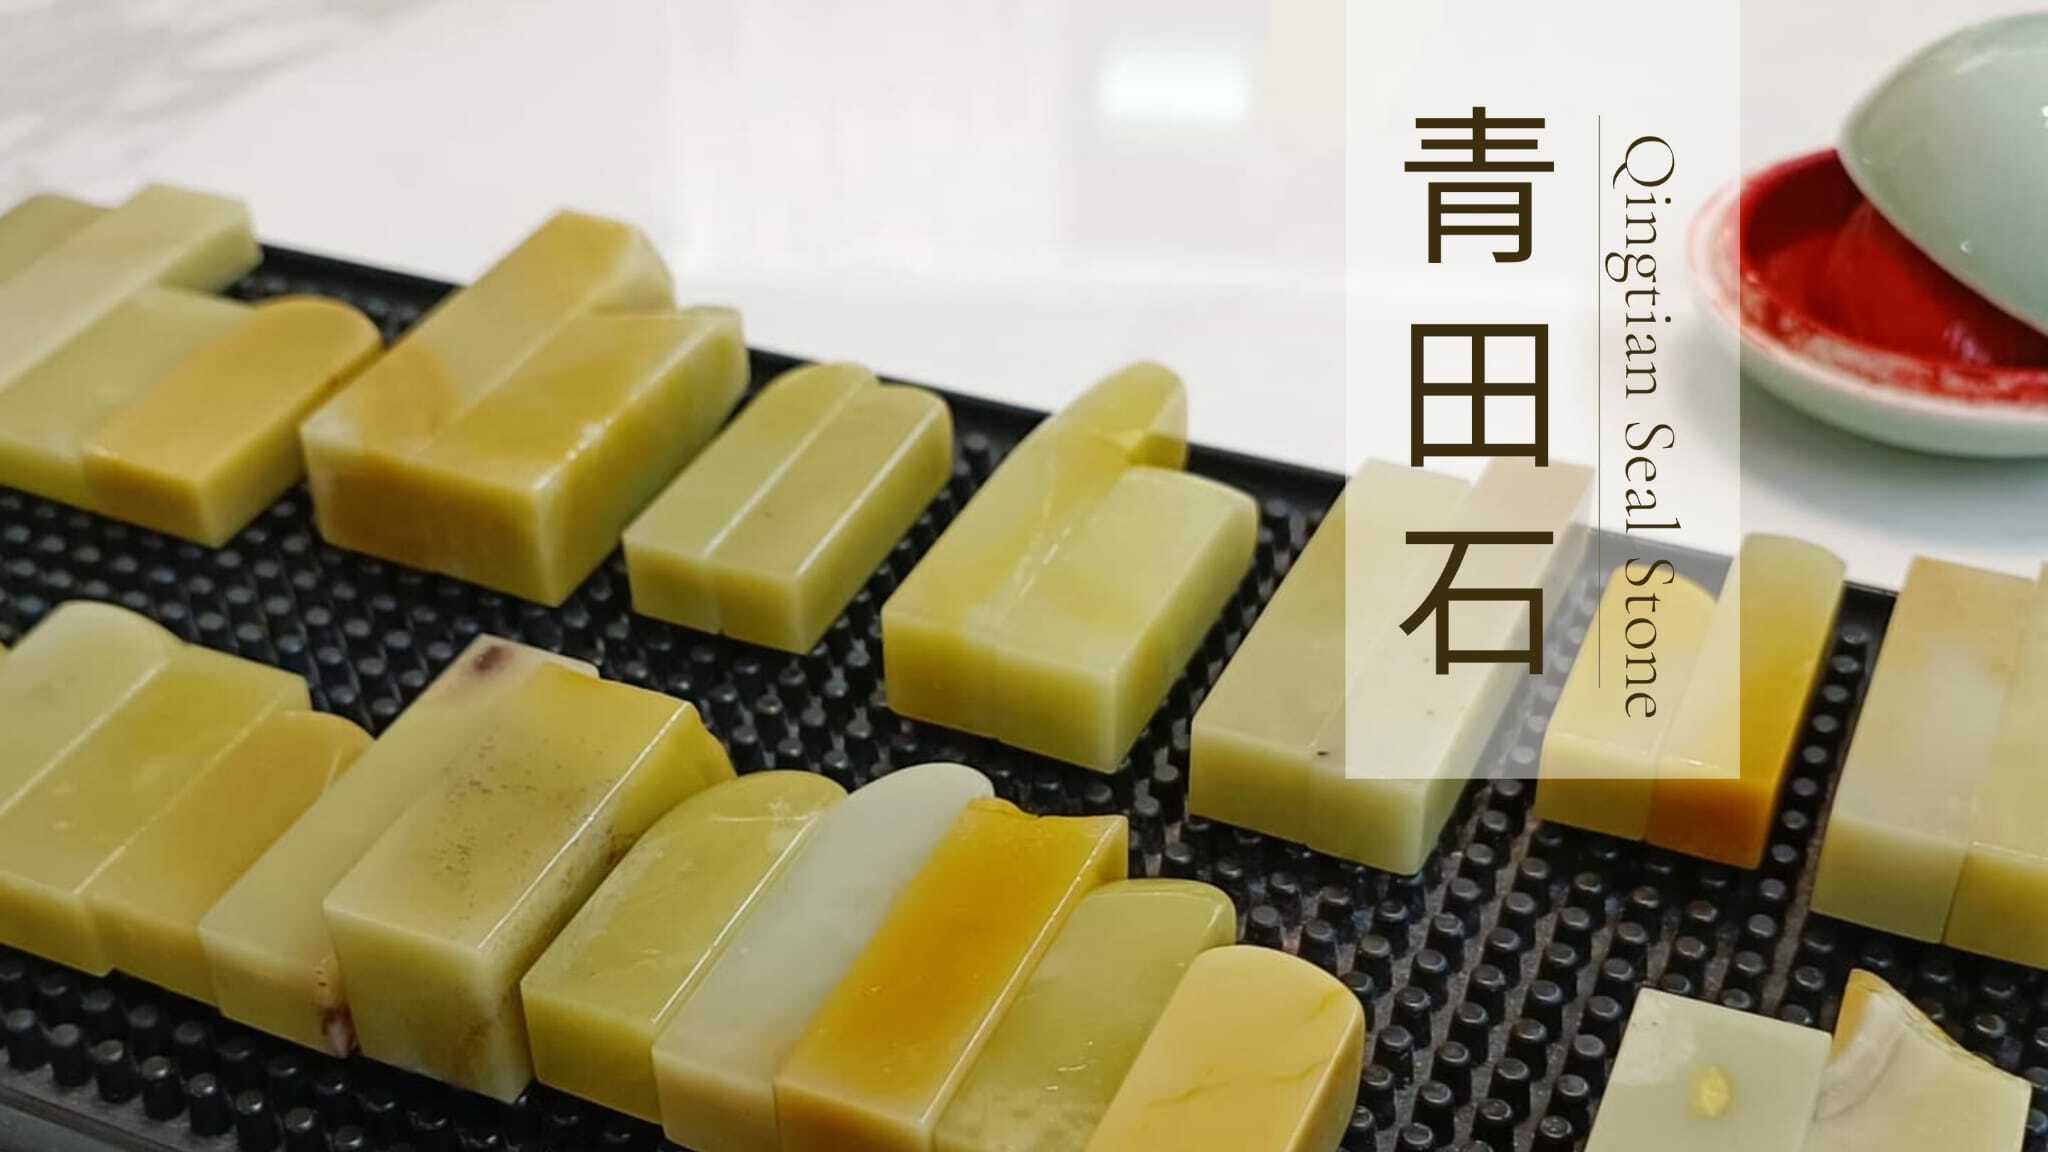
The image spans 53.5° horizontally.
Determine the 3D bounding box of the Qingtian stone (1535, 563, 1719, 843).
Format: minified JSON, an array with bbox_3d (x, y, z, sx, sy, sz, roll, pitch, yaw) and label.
[{"bbox_3d":[0.462,0.088,1.506,0.106,0.049,0.202,12,50,20],"label":"Qingtian stone"}]
